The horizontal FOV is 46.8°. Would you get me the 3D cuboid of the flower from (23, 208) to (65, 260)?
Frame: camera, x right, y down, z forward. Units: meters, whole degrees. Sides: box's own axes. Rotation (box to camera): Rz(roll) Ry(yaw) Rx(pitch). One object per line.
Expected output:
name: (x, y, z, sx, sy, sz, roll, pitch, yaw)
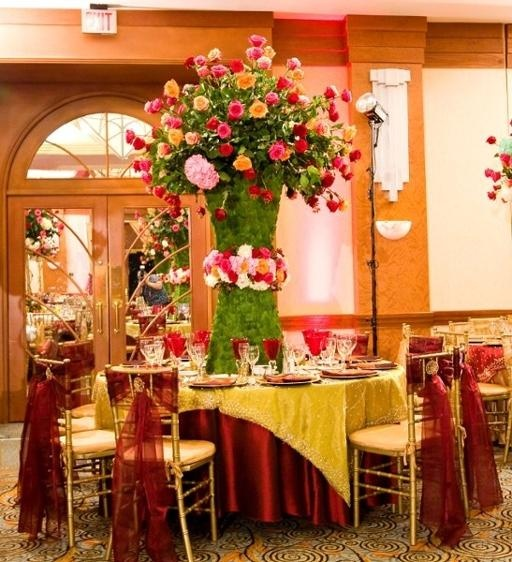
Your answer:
flower: (-1.805, -0.416, 5.069, 0.359, 0.401, 0.144, -5, -9, -5)
